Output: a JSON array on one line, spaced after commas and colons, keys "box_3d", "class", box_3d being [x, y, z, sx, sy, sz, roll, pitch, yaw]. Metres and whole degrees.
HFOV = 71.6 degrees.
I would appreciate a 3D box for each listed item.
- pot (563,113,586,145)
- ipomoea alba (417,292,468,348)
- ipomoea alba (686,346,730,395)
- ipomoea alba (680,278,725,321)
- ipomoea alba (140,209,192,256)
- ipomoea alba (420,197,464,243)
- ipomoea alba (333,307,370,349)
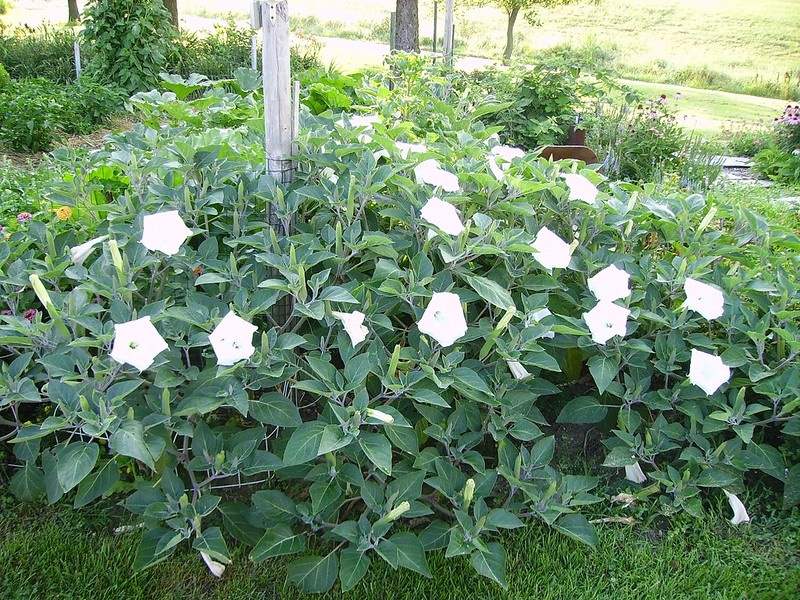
[{"box_3d": [2.230, -2.171, 7.131, 0.211, 0.511, 0.200, 1, 37, -1], "class": "pot"}, {"box_3d": [0.171, 0.093, 2.159, 0.143, 0.240, 0.133, 17, 21, 37], "class": "ipomoea alba"}, {"box_3d": [1.380, 0.338, 2.492, 0.152, 0.233, 0.178, 13, 19, 28], "class": "ipomoea alba"}, {"box_3d": [1.426, 0.007, 2.607, 0.162, 0.214, 0.241, 14, 19, 30], "class": "ipomoea alba"}, {"box_3d": [-0.955, -0.262, 2.274, 0.183, 0.196, 0.170, -3, 18, -22], "class": "ipomoea alba"}, {"box_3d": [0.186, -0.341, 2.368, 0.183, 0.169, 0.180, 4, 16, 0], "class": "ipomoea alba"}, {"box_3d": [-0.204, 0.121, 2.269, 0.136, 0.181, 0.214, 2, 16, -6], "class": "ipomoea alba"}]
